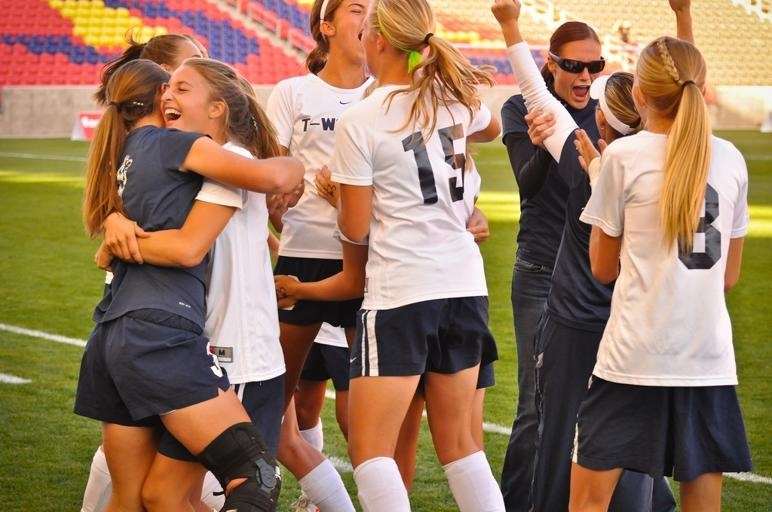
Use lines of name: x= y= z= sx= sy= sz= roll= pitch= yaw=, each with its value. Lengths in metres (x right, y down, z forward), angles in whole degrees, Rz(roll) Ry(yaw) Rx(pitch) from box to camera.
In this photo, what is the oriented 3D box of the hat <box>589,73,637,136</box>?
hat: x=1.068 y=-0.722 z=4.044 sx=0.226 sy=0.277 sz=0.128 roll=-7 pitch=-8 yaw=-11
